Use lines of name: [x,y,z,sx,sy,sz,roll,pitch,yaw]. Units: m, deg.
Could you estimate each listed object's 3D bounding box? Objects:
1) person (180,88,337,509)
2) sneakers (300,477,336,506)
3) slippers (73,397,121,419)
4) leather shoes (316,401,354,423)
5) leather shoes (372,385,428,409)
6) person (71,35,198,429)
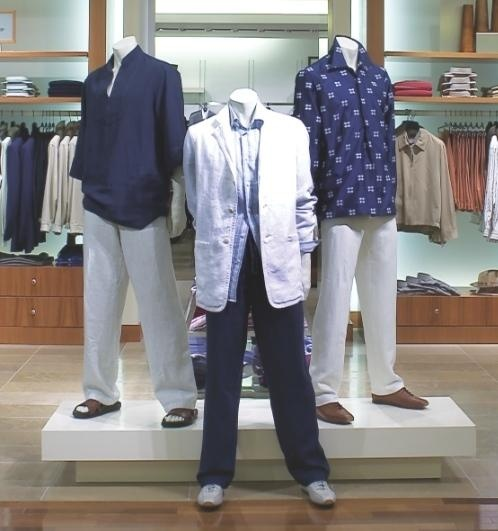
person: [0.035,0.108,2.169,0.497,1.364,0.286,-1,7,-7]
sneakers: [0.234,0.743,2.138,0.047,0.058,0.136,-1,-10,-17]
slippers: [-0.570,0.535,2.463,0.170,0.074,0.057,5,-4,-38]
leather shoes: [0.311,0.528,2.372,0.059,0.056,0.133,3,-6,-33]
leather shoes: [0.590,0.510,2.553,0.204,0.091,0.075,-1,-7,19]
person: [-0.436,-0.130,2.390,0.492,1.385,0.292,1,6,4]
